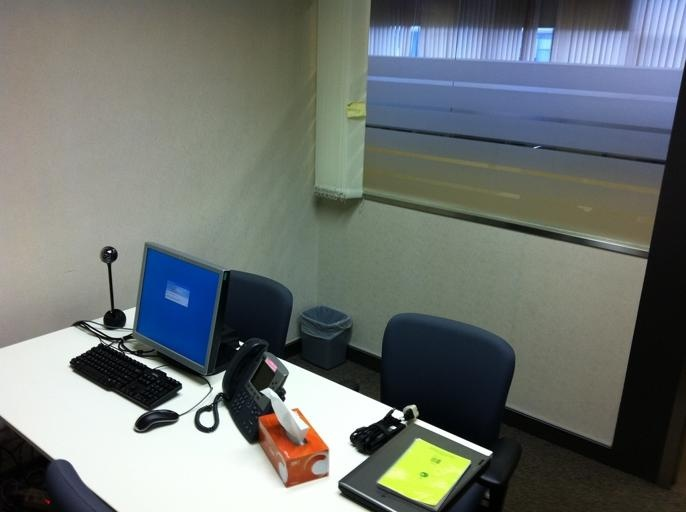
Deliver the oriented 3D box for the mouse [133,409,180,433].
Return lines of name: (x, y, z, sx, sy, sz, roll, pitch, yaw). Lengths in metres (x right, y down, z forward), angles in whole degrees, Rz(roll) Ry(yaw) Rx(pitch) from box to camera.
mouse: (-0.728, 0.632, 1.943, 0.075, 0.039, 0.125, 19, 26, 42)

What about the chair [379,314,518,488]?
chair: (0.489, 0.540, 2.477, 0.631, 0.925, 0.539, 9, 17, 28)

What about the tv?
tv: (-0.728, 0.261, 2.256, 0.486, 0.459, 0.177, 20, 9, 31)

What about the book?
book: (0.284, 0.752, 1.739, 0.229, 0.023, 0.286, 18, 28, 32)

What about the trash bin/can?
trash bin/can: (-0.142, 0.581, 3.934, 0.368, 0.414, 0.450, -11, 17, -42)

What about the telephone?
telephone: (-0.405, 0.532, 1.991, 0.369, 0.242, 0.384, -15, 23, -30)
